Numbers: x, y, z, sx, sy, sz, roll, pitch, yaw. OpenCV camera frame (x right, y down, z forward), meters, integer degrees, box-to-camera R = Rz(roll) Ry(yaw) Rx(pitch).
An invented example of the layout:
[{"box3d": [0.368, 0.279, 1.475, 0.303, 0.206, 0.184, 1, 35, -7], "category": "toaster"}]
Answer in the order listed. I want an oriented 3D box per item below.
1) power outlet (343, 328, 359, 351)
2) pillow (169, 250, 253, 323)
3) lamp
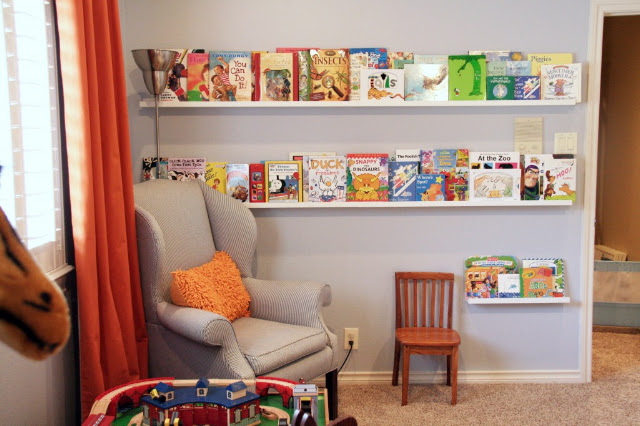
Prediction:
[{"box3d": [0.218, 0.919, 3.790, 0.163, 0.226, 0.023, 0, 0, -4], "category": "power outlet"}, {"box3d": [-0.668, 0.470, 3.245, 0.427, 0.174, 0.427, 1, 21, -31], "category": "pillow"}, {"box3d": [-1.093, -0.671, 3.544, 0.279, 0.858, 0.323, -4, 14, -14], "category": "lamp"}]
